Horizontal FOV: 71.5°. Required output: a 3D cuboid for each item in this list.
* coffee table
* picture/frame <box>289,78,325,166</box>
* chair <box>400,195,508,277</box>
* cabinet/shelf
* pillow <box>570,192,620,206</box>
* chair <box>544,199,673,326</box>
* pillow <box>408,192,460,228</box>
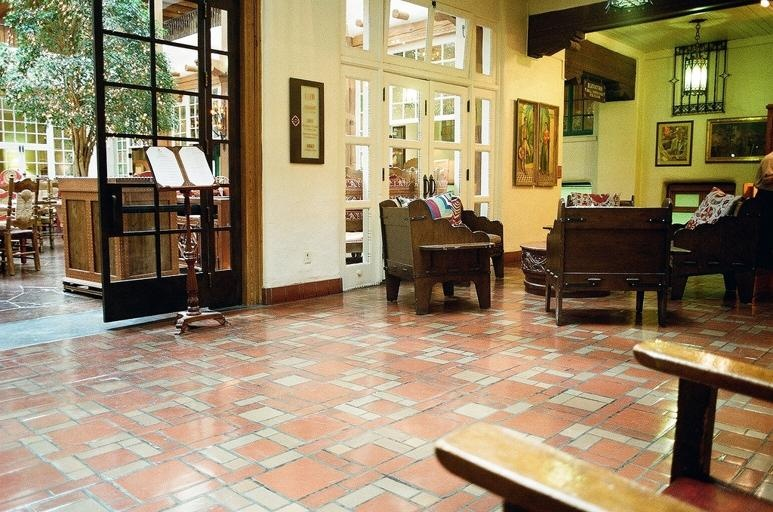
[{"bbox_3d":[2.195,0.151,6.947,0.816,0.414,0.748,-8,8,-9],"label":"coffee table"},{"bbox_3d":[-0.952,-1.587,6.417,0.124,0.987,0.556,9,14,43],"label":"picture/frame"},{"bbox_3d":[1.026,-0.252,7.455,1.022,1.112,0.932,-1,12,23],"label":"chair"},{"bbox_3d":[-2.900,-0.159,5.743,1.034,0.816,0.623,6,10,28],"label":"cabinet/shelf"},{"bbox_3d":[3.308,-0.881,8.525,0.920,0.246,0.611,0,4,-14],"label":"pillow"},{"bbox_3d":[2.108,0.070,5.715,1.369,1.258,0.974,0,2,-19],"label":"chair"},{"bbox_3d":[0.616,-0.546,6.512,0.161,0.420,0.531,-25,-8,30],"label":"pillow"}]
